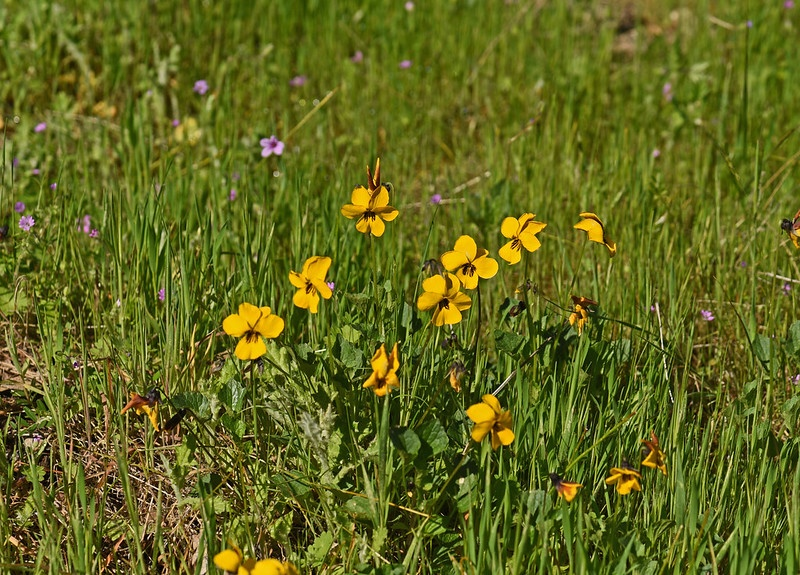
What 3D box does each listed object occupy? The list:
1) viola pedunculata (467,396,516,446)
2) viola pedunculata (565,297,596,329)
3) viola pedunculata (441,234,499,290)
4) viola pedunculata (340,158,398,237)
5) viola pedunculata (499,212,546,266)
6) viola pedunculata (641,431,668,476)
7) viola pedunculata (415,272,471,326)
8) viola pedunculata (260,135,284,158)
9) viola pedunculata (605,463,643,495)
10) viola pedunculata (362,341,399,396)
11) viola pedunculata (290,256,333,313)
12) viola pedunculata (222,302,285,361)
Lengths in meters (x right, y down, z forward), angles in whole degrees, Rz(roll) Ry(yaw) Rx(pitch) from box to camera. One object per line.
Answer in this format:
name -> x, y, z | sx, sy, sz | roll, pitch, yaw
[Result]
viola pedunculata -> 0.295, 0.443, 3.158 | 0.157, 0.160, 0.050 | -47, 19, -16
viola pedunculata -> 0.641, 0.104, 3.474 | 0.113, 0.081, 0.135 | -6, 21, 19
viola pedunculata -> 0.259, -0.105, 3.379 | 0.213, 0.112, 0.268 | 6, -18, -35
viola pedunculata -> -0.107, -0.294, 3.411 | 0.164, 0.148, 0.301 | 0, 70, 1
viola pedunculata -> 0.402, -0.190, 3.418 | 0.132, 0.047, 0.156 | -7, 34, 52
viola pedunculata -> 0.857, 0.554, 3.250 | 0.080, 0.064, 0.099 | 17, 16, -14
viola pedunculata -> 0.150, 0.027, 3.318 | 0.200, 0.112, 0.250 | -3, -1, 17
viola pedunculata -> -0.571, -0.599, 4.341 | 0.096, 0.048, 0.125 | -21, 58, -6
viola pedunculata -> 0.755, 0.643, 3.258 | 0.087, 0.131, 0.058 | 12, 2, 14
viola pedunculata -> -0.063, 0.278, 3.201 | 0.112, 0.172, 0.047 | 1, 12, -42
viola pedunculata -> -0.301, -0.024, 3.344 | 0.133, 0.201, 0.071 | 8, 30, 28
viola pedunculata -> -0.499, 0.150, 3.272 | 0.192, 0.055, 0.239 | 35, 43, 17
